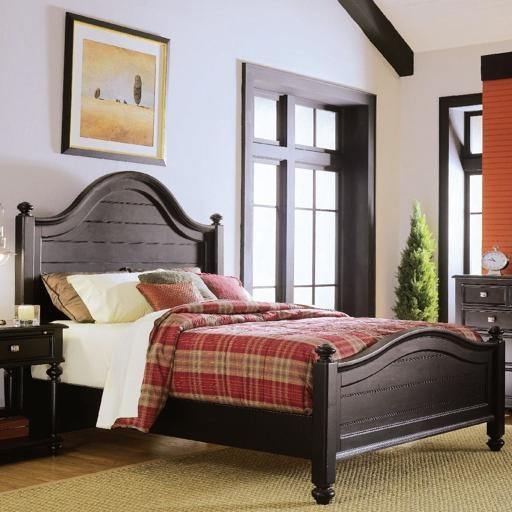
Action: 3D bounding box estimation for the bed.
[{"bbox_3d":[-0.126,0.269,3.106,2.588,1.621,1.705,1,4,37],"label":"bed"}]

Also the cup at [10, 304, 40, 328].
[{"bbox_3d":[-1.144,0.298,2.612,0.118,0.103,0.112,1,-4,0],"label":"cup"}]

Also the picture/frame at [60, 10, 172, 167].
[{"bbox_3d":[-0.947,-1.095,3.560,0.894,0.823,0.034,16,22,23],"label":"picture/frame"}]
